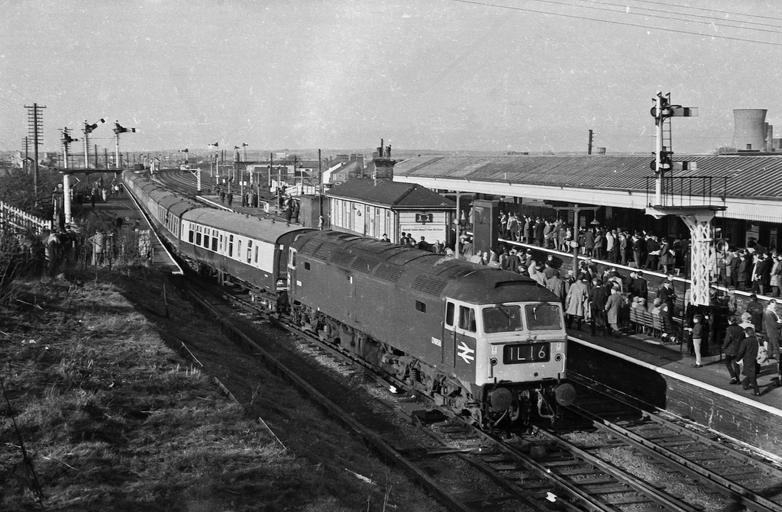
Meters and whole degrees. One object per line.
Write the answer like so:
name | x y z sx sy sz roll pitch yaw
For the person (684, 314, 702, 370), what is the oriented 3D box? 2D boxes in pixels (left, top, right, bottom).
person | 9.709 2.595 23.565 0.394 1.536 1.753 1 7 23

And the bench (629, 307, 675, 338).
bench | 8.938 2.376 25.639 0.684 0.992 2.158 -3 6 -6
